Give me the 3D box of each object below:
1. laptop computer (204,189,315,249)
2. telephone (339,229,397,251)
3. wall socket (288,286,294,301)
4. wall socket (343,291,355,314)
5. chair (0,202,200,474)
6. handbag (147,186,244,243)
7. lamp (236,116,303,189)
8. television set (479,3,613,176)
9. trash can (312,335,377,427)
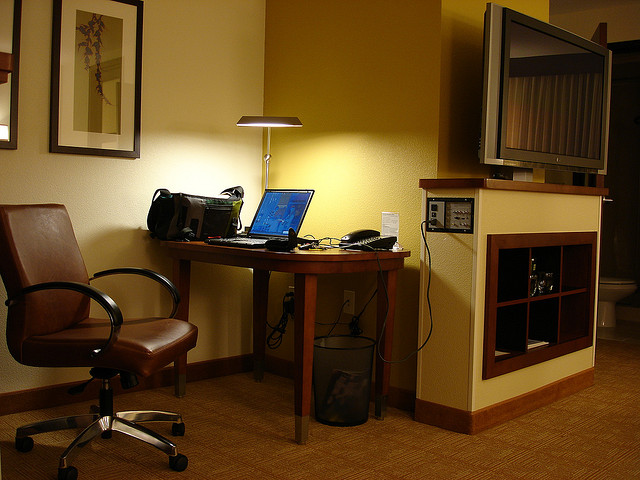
[{"bbox_3d":[-0.347,-0.146,3.219,0.471,0.335,0.617,5,7,38],"label":"laptop computer"},{"bbox_3d":[0.278,0.003,2.988,0.326,0.105,0.257,2,5,2],"label":"telephone"},{"bbox_3d":[-0.203,0.384,3.694,0.024,0.097,0.062,-2,6,-29],"label":"wall socket"},{"bbox_3d":[0.191,0.407,3.419,0.086,0.142,0.019,6,7,44],"label":"wall socket"},{"bbox_3d":[-1.106,0.418,3.148,1.207,1.637,1.143,4,4,19],"label":"chair"},{"bbox_3d":[-0.769,-0.139,3.352,0.440,0.309,0.337,2,2,-39],"label":"handbag"},{"bbox_3d":[-0.351,-0.629,3.713,0.469,0.693,0.240,1,8,-4],"label":"lamp"},{"bbox_3d":[1.470,-0.904,3.334,1.270,0.909,0.088,-2,6,-33],"label":"television set"},{"bbox_3d":[0.139,0.820,3.071,0.396,0.454,0.413,-6,-11,27],"label":"trash can"}]
